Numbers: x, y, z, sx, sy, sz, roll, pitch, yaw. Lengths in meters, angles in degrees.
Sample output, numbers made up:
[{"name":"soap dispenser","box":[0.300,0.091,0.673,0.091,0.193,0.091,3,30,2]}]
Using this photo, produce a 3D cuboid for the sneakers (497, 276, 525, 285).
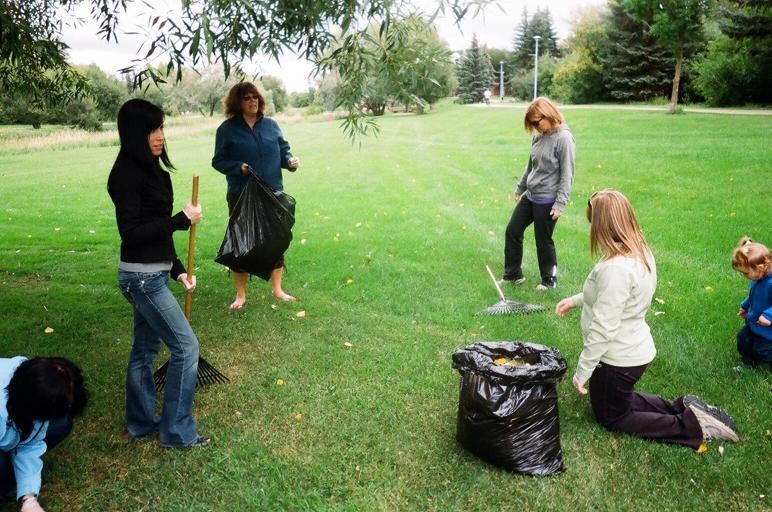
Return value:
[{"name":"sneakers","box":[1.976,0.370,8.537,0.428,0.183,0.147,1,4,-1]}]

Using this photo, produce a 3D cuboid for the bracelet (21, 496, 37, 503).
[{"name":"bracelet","box":[-3.013,2.059,4.577,0.084,0.080,0.082,-5,-8,-1]}]

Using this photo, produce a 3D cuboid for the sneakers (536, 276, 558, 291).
[{"name":"sneakers","box":[2.391,0.425,8.205,0.410,0.166,0.142,-8,3,-3]}]

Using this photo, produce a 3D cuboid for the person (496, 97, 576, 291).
[{"name":"person","box":[2.324,-0.960,8.202,0.967,2.788,0.970,3,18,14]}]
